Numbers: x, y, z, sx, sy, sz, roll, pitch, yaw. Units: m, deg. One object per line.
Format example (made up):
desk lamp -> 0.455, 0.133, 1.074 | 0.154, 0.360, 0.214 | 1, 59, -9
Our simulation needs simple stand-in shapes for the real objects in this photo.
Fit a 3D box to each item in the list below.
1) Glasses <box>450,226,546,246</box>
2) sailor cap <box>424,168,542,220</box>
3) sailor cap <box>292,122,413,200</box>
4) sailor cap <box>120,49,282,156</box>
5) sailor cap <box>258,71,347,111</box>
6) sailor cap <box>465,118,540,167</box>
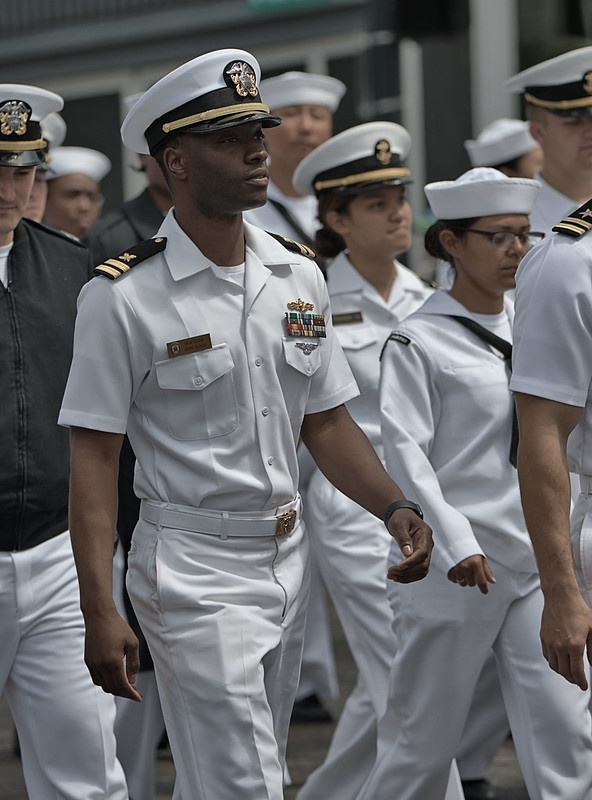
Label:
Glasses -> 0.586, -0.480, 4.240 | 0.235, 0.058, 0.222 | 8, 3, 35
sailor cap -> 0.553, -0.612, 4.408 | 0.370, 0.118, 0.328 | 4, 15, 41
sailor cap -> 0.213, -0.881, 5.392 | 0.523, 0.207, 0.507 | -11, 10, -7
sailor cap -> -0.231, -0.657, 3.266 | 0.311, 0.124, 0.273 | -7, 4, 38
sailor cap -> 0.016, -1.483, 7.104 | 0.484, 0.128, 0.478 | 0, -1, -6
sailor cap -> 1.034, -1.254, 7.192 | 0.339, 0.138, 0.418 | -13, 9, -5
